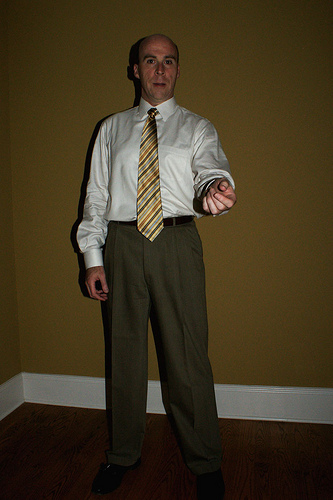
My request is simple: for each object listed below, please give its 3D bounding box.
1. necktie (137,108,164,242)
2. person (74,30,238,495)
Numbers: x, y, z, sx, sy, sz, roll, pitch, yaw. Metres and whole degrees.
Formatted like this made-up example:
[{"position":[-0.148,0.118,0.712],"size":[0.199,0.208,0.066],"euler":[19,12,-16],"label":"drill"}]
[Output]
[{"position":[-0.061,-0.265,1.567],"size":[0.091,0.454,0.132],"euler":[-1,8,3],"label":"necktie"},{"position":[-0.058,0.037,1.575],"size":[0.646,1.668,0.508],"euler":[1,9,15],"label":"person"}]
